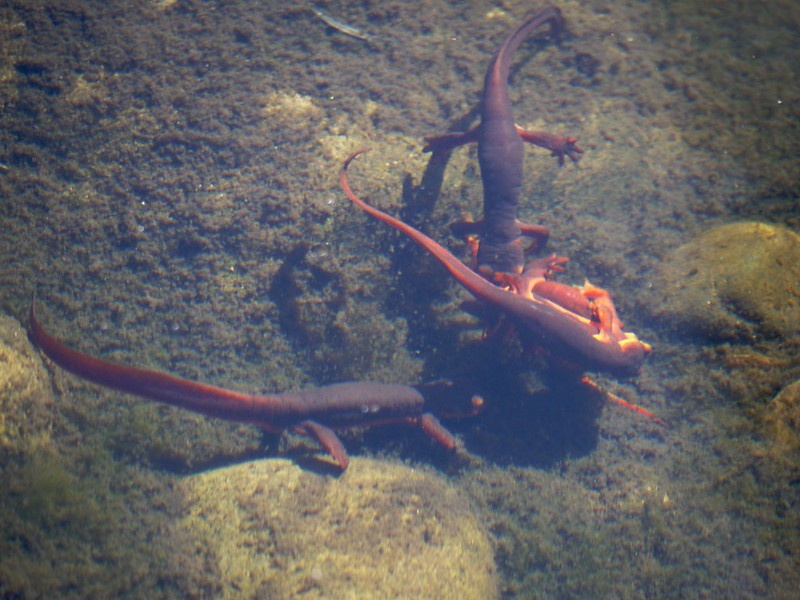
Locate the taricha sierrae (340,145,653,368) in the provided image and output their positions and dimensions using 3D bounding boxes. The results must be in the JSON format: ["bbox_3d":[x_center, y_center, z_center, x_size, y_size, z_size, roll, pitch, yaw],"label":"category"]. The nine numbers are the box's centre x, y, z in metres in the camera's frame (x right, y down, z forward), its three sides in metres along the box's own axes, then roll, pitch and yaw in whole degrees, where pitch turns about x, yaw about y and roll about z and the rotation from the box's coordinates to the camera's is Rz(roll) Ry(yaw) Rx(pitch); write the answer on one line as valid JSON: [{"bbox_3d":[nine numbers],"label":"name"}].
[{"bbox_3d":[0.700,-0.345,10.511,3.407,0.403,0.845,34,36,15],"label":"taricha sierrae"}]
